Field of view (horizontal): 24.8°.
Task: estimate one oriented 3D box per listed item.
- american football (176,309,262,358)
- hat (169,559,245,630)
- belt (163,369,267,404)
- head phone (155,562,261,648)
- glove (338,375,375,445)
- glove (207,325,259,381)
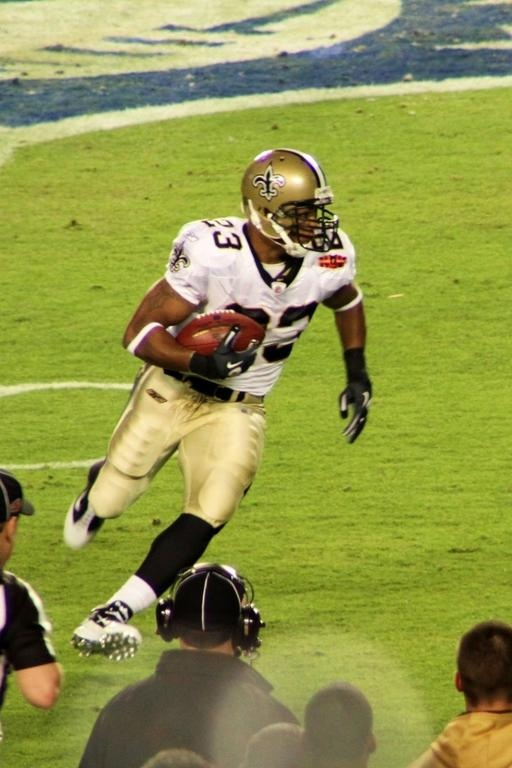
[{"bbox_3d":[-0.130,-0.206,4.017,0.286,0.142,0.342,12,22,41],"label":"american football"},{"bbox_3d":[-0.144,0.578,3.307,0.261,0.156,0.318,6,10,-2],"label":"hat"},{"bbox_3d":[-0.139,0.022,4.156,0.212,0.041,0.152,15,-2,7],"label":"belt"},{"bbox_3d":[-0.133,0.611,3.258,0.266,0.268,0.142,4,21,3],"label":"head phone"},{"bbox_3d":[0.383,0.098,4.469,0.166,0.245,0.082,6,9,-2],"label":"glove"},{"bbox_3d":[-0.042,-0.120,3.934,0.161,0.171,0.144,-19,23,-32],"label":"glove"}]
